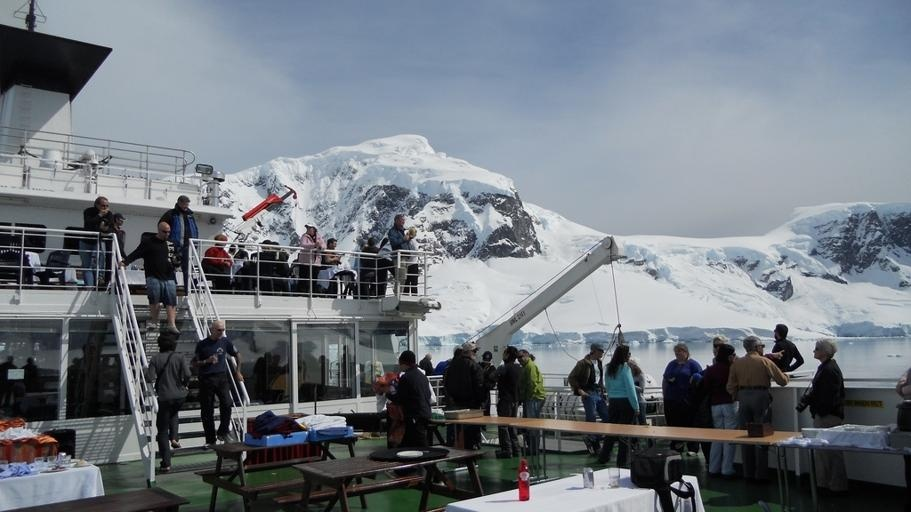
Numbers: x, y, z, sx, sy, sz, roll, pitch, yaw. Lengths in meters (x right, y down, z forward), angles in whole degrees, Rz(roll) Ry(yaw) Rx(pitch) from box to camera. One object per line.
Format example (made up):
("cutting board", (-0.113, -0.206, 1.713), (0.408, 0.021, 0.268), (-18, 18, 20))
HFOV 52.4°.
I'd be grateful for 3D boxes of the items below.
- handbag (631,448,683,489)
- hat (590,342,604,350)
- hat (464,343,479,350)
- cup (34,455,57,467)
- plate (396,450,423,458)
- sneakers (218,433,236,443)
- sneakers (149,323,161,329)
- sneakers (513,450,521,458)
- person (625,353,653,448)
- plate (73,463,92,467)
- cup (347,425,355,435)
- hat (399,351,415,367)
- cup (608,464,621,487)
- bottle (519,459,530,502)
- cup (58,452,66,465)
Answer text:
("handbag", (3.975, 4.117, 18.295), (0.805, 0.573, 0.820), (-2, -6, 23))
("hat", (3.703, 2.341, 24.366), (0.290, 0.150, 0.211), (0, 0, 10))
("hat", (0.375, 2.338, 24.065), (0.351, 0.200, 0.413), (1, -8, 0))
("cup", (-8.485, 4.211, 19.145), (0.225, 0.163, 0.231), (1, -12, 0))
("plate", (-0.969, 4.174, 19.604), (0.528, 0.163, 0.355), (1, -8, -5))
("sneakers", (-5.574, 4.426, 22.728), (0.612, 0.256, 0.219), (-20, -21, 41))
("sneakers", (-7.758, 1.757, 23.751), (0.123, 0.145, 0.349), (-1, -5, -27))
("sneakers", (1.639, 5.227, 24.645), (0.155, 0.146, 0.159), (-6, -9, 27))
("person", (5.054, 3.929, 25.956), (0.758, 2.243, 0.727), (14, 21, 37))
("plate", (-7.781, 4.319, 19.331), (0.293, 0.090, 0.301), (0, -8, 7))
("cup", (-2.390, 3.949, 21.130), (0.245, 0.218, 0.167), (4, -10, -27))
("hat", (-1.181, 2.434, 22.044), (0.394, 0.391, 0.337), (1, 2, 43))
("cup", (3.137, 4.350, 18.301), (0.190, 0.354, 0.288), (0, -9, 10))
("bottle", (1.337, 4.337, 18.087), (0.212, 0.766, 0.358), (1, -9, 3))
("cup", (-8.179, 4.167, 19.231), (0.157, 0.209, 0.071), (5, -4, 6))
